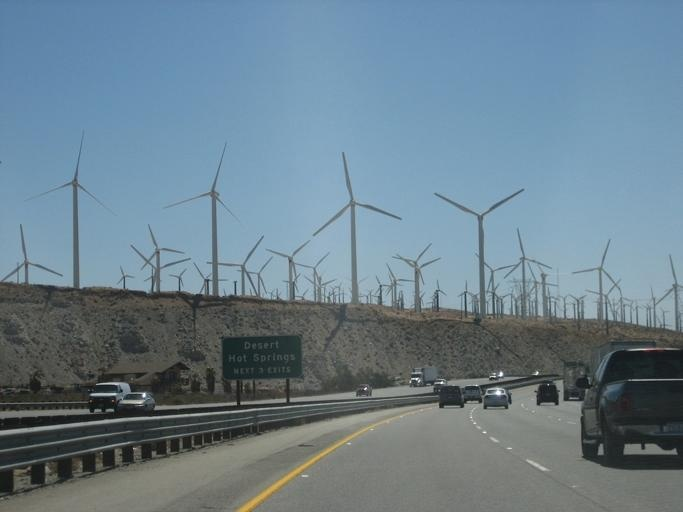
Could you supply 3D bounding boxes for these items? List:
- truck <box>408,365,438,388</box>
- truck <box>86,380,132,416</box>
[{"bbox_3d":[10.170,15.955,110.953,1.596,2.680,5.241,-5,-10,29],"label":"truck"},{"bbox_3d":[-14.459,8.660,52.114,2.001,1.908,3.403,1,-12,-12],"label":"truck"}]
